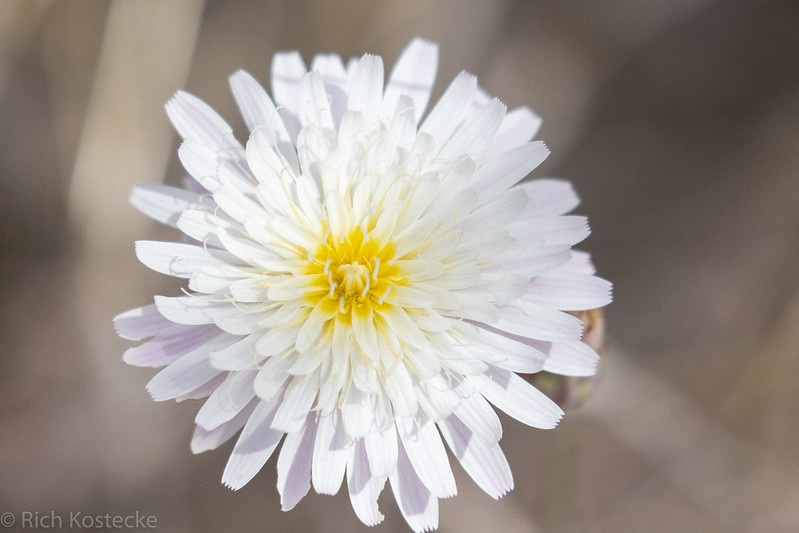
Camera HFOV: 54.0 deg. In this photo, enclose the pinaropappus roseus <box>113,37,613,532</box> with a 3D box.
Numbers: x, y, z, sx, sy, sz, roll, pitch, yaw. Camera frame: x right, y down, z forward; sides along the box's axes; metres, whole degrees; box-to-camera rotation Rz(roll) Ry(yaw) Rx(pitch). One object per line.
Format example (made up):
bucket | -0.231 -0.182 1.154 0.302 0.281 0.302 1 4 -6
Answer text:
pinaropappus roseus | -0.045 0.022 0.911 0.558 0.487 0.336 -8 30 -15
